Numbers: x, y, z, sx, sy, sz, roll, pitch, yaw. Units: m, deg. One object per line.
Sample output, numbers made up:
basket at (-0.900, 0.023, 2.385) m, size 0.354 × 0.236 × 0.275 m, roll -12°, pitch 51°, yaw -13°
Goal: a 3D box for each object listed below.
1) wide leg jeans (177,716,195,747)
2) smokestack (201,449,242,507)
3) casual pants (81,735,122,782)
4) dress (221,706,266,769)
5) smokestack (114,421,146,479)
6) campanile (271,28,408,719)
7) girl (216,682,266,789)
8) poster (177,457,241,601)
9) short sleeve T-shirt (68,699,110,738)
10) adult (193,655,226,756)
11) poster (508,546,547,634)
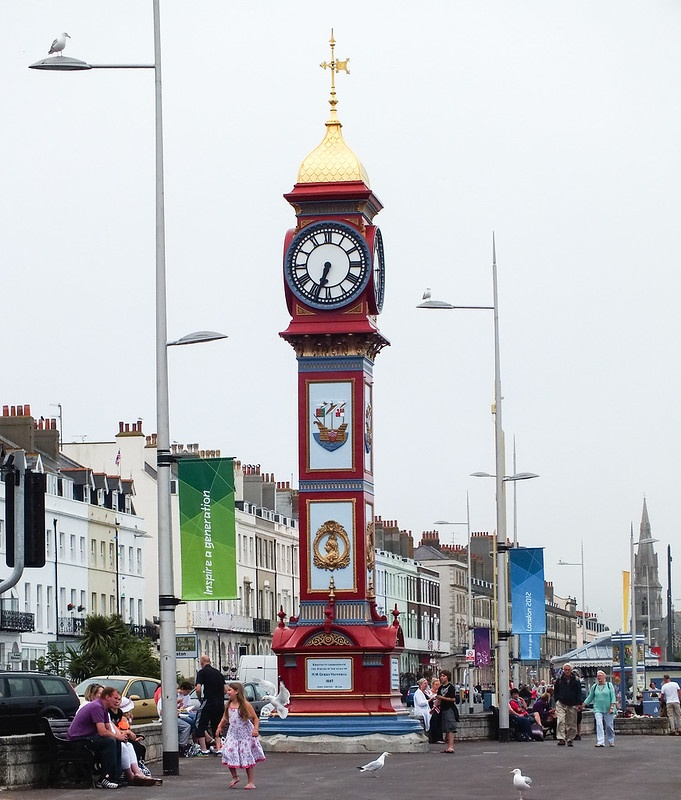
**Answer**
wide leg jeans at (-2.955, 6.331, 45.269) m, size 0.236 × 0.579 × 0.492 m, roll 0°, pitch -10°, yaw -6°
smokestack at (-5.672, 3.332, 108.706) m, size 1.634 × 1.928 × 1.003 m, roll -22°, pitch 6°, yaw 13°
casual pants at (-3.606, 5.406, 35.919) m, size 0.538 × 0.822 × 0.577 m, roll -2°, pitch -5°, yaw 0°
dress at (-1.543, 5.064, 36.639) m, size 0.601 × 1.102 × 0.539 m, roll -8°, pitch 19°, yaw -2°
smokestack at (-10.026, 2.638, 113.477) m, size 1.514 × 2.975 × 1.562 m, roll 6°, pitch -24°, yaw -22°
campanile at (-0.100, 0.437, 49.458) m, size 2.131 × 12.307 × 1.462 m, roll -1°, pitch -9°, yaw 1°
girl at (-1.534, 5.131, 36.777) m, size 0.593 × 1.764 × 0.628 m, roll 1°, pitch 11°, yaw 5°
poster at (-2.250, 2.223, 40.325) m, size 0.974 × 2.689 × 0.032 m, roll -1°, pitch -29°, yaw -3°
short sleeve T-shirt at (-3.796, 4.838, 35.808) m, size 0.448 × 0.760 × 0.589 m, roll 9°, pitch 2°, yaw -7°
adult at (-2.442, 5.674, 45.087) m, size 0.504 × 2.016 × 0.568 m, roll -2°, pitch 19°, yaw -12°
poster at (4.520, 4.681, 57.243) m, size 0.849 × 2.374 × 0.065 m, roll -1°, pitch -31°, yaw 2°
